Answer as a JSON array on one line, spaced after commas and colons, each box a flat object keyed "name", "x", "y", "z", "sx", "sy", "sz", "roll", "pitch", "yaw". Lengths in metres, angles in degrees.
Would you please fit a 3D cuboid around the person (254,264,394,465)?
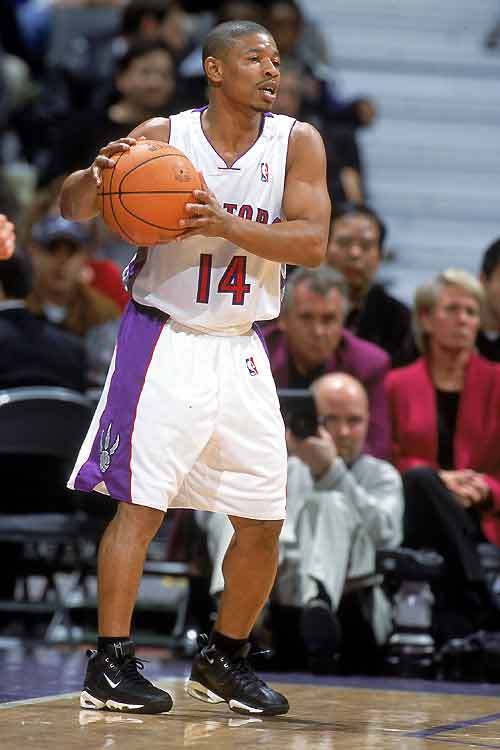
[{"name": "person", "x": 0.321, "y": -0.038, "z": 3.594, "sx": 0.655, "sy": 0.690, "sz": 0.237, "roll": 1, "pitch": -9, "yaw": 2}]

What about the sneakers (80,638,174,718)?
[{"name": "sneakers", "x": -0.277, "y": 0.690, "z": 2.022, "sx": 0.261, "sy": 0.151, "sz": 0.093, "roll": -10, "pitch": -17, "yaw": 43}]

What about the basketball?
[{"name": "basketball", "x": -0.208, "y": -0.401, "z": 1.956, "sx": 0.155, "sy": 0.241, "sz": 0.245, "roll": -6, "pitch": 13, "yaw": -45}]

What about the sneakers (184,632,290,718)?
[{"name": "sneakers", "x": -0.052, "y": 0.726, "z": 2.157, "sx": 0.127, "sy": 0.126, "sz": 0.299, "roll": 11, "pitch": -5, "yaw": -44}]
